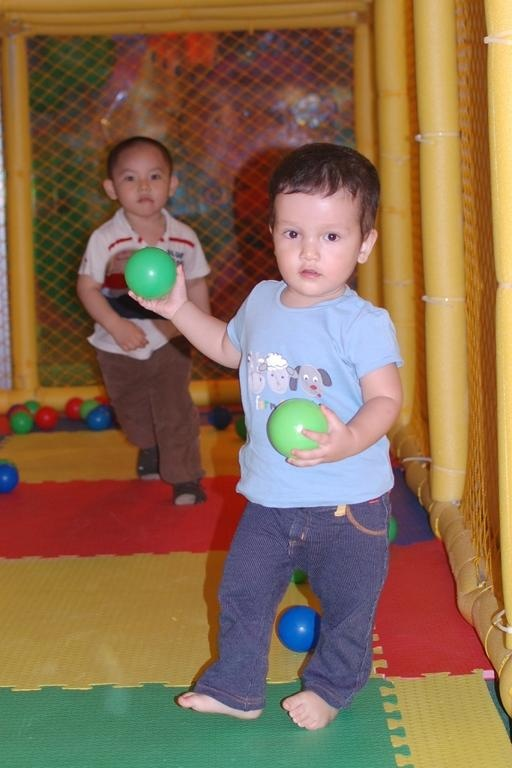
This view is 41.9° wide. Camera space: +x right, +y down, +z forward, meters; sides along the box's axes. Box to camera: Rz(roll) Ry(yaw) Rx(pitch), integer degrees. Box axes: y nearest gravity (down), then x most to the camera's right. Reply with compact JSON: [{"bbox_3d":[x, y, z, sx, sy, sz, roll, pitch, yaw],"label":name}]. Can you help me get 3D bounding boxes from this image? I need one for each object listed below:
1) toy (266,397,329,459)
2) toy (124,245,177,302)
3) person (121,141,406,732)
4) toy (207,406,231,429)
[{"bbox_3d":[0.084,0.061,1.108,0.096,0.100,0.094,-12,22,-37],"label":"toy"},{"bbox_3d":[-0.228,-0.238,1.450,0.122,0.127,0.115,2,9,-16],"label":"toy"},{"bbox_3d":[0.035,0.111,1.349,0.522,1.193,0.431,6,12,41],"label":"person"},{"bbox_3d":[-0.230,0.202,4.039,0.138,0.142,0.128,0,6,6],"label":"toy"}]
